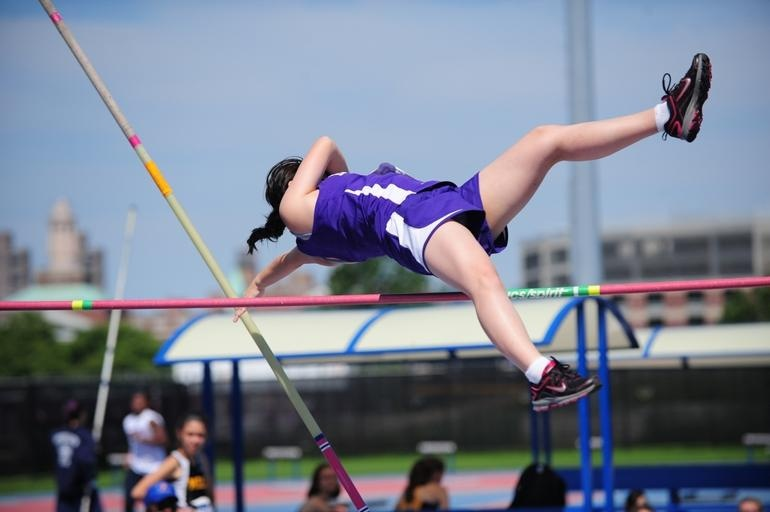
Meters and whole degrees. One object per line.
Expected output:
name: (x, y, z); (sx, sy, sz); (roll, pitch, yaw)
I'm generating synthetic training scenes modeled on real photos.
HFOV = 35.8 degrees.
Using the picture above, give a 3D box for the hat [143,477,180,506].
hat: (-3.121, 3.316, 16.566); (0.405, 0.226, 0.294); (-11, -4, 14)
